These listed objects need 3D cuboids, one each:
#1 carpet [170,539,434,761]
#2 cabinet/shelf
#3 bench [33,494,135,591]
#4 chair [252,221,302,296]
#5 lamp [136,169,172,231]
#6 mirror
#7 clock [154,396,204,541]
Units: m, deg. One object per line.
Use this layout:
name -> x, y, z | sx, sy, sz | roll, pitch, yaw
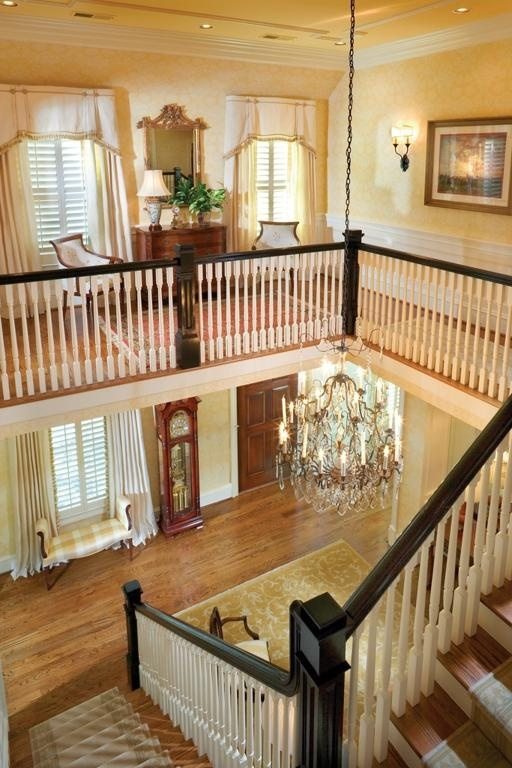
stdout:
carpet -> 0.786, 2.759, 6.348 | 2.298, 0.102, 2.563 | 21, 33, 40
cabinet/shelf -> -0.855, -1.309, 5.978 | 1.125, 1.052, 0.473 | -15, 39, -21
bench -> -2.339, 2.468, 7.624 | 1.453, 1.202, 0.817 | -15, 33, -28
chair -> 0.277, -1.793, 7.606 | 0.737, 1.290, 0.912 | 1, 39, -1
lamp -> -1.291, -2.322, 6.848 | 0.408, 0.698, 0.448 | 8, 38, 9
mirror -> -1.086, -2.922, 6.963 | 1.191, 1.817, 0.078 | -14, 37, -25
clock -> -1.058, 1.170, 7.706 | 0.628, 1.996, 0.327 | -9, 17, -21
